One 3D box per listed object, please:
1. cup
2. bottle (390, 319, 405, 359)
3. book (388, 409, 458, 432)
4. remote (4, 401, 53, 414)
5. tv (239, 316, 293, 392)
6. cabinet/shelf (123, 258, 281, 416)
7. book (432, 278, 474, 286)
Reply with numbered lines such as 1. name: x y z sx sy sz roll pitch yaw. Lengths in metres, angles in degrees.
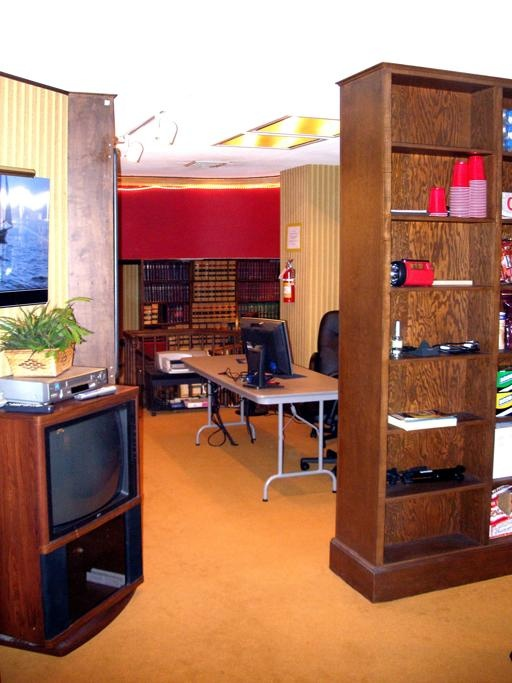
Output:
1. cup: 1.007 -0.773 2.799 0.345 0.334 0.177 -5 9 -24
2. bottle: 0.705 -0.016 2.815 0.064 0.178 0.324 2 4 14
3. book: 0.837 0.402 2.869 0.347 0.066 0.212 0 4 -17
4. remote: -0.852 0.250 2.102 0.081 0.019 0.079 3 4 12
5. tv: 0.066 0.113 4.306 0.189 0.478 0.490 -11 15 -28
6. cabinet/shelf: -0.808 -0.097 7.063 2.111 2.088 0.730 0 3 -12
7. book: 0.983 -0.291 2.810 0.255 0.019 0.042 -5 19 -32
